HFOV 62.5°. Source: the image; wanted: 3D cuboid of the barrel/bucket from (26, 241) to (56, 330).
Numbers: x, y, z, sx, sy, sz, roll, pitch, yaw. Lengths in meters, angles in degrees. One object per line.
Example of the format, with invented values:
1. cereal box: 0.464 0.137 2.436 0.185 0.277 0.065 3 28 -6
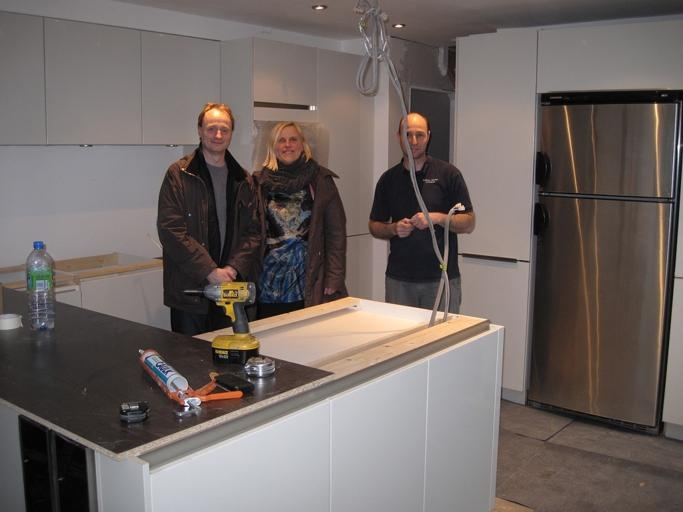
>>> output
1. barrel/bucket: -1.265 0.135 2.368 0.121 0.472 0.140 10 9 28

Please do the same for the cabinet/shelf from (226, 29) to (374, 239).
1. cabinet/shelf: -0.408 -1.020 4.895 0.550 1.467 1.295 12 15 40

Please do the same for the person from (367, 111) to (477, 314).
1. person: 0.497 -0.202 3.469 0.491 1.476 0.477 0 2 -18

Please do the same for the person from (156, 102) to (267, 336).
1. person: -0.771 -0.171 3.267 0.528 1.438 0.498 -1 13 -24

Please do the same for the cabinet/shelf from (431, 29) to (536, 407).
1. cabinet/shelf: 1.099 -0.302 4.215 0.456 2.534 0.640 0 8 13

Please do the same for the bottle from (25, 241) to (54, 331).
1. bottle: -1.270 0.128 2.370 0.133 0.483 0.137 1 4 0

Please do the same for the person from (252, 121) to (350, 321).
1. person: -0.248 -0.228 3.623 0.628 1.215 0.413 -2 13 -18
